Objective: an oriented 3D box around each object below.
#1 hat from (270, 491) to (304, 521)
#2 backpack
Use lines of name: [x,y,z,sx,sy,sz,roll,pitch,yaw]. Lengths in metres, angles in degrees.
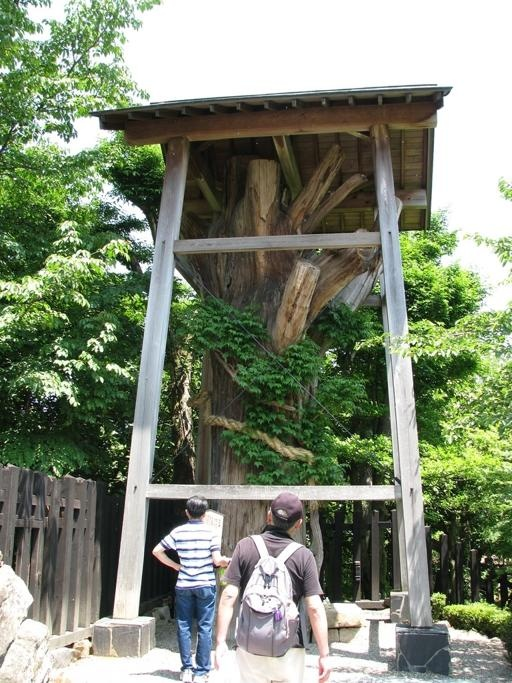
hat: [0.153,0.765,2.941,0.103,0.086,0.145,9,14,5]
backpack: [0.064,1.134,2.730,0.287,0.461,0.189,1,-12,1]
